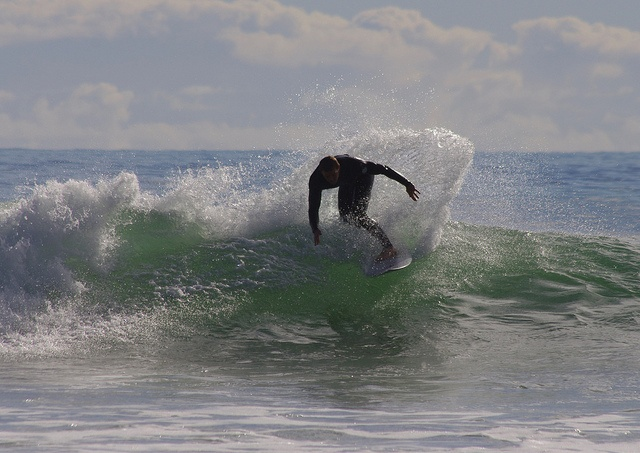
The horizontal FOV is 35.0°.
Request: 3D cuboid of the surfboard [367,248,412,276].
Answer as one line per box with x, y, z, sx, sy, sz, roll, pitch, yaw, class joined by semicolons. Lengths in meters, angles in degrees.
1.039;0.560;15.515;0.814;0.308;0.263;-16;70;-1;surfboard
